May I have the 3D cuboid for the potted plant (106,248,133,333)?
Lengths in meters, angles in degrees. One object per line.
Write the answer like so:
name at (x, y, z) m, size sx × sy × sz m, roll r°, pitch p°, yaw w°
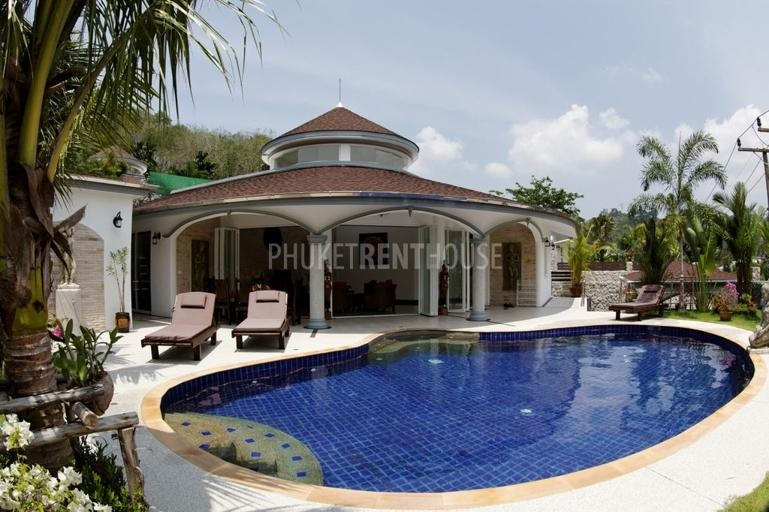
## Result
potted plant at (-7.022, 0.875, 13.798) m, size 0.581 × 2.238 × 0.577 m, roll 2°, pitch -3°, yaw -27°

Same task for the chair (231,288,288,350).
chair at (-2.897, 1.491, 12.601) m, size 1.224 × 1.220 × 2.046 m, roll 0°, pitch 2°, yaw 1°

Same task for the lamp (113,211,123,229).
lamp at (-6.974, -0.961, 13.684) m, size 0.170 × 0.458 × 0.237 m, roll 0°, pitch -3°, yaw 7°

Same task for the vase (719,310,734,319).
vase at (10.375, 1.781, 15.853) m, size 0.282 × 0.211 × 0.291 m, roll -3°, pitch -4°, yaw 19°

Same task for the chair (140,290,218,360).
chair at (-4.446, 1.519, 11.557) m, size 1.022 × 1.239 × 1.997 m, roll 0°, pitch 3°, yaw -2°

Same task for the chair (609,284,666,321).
chair at (8.081, 1.463, 16.572) m, size 2.044 × 1.032 × 0.908 m, roll 0°, pitch -1°, yaw -35°

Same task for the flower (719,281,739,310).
flower at (10.831, 1.243, 16.407) m, size 0.400 × 0.878 × 1.304 m, roll -2°, pitch -4°, yaw 35°

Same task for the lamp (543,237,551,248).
lamp at (6.256, -0.520, 20.015) m, size 0.319 × 0.547 × 0.386 m, roll -5°, pitch -3°, yaw 22°

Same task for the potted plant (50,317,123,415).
potted plant at (-3.763, 1.504, 6.773) m, size 0.750 × 1.053 × 0.652 m, roll -2°, pitch 8°, yaw -27°
